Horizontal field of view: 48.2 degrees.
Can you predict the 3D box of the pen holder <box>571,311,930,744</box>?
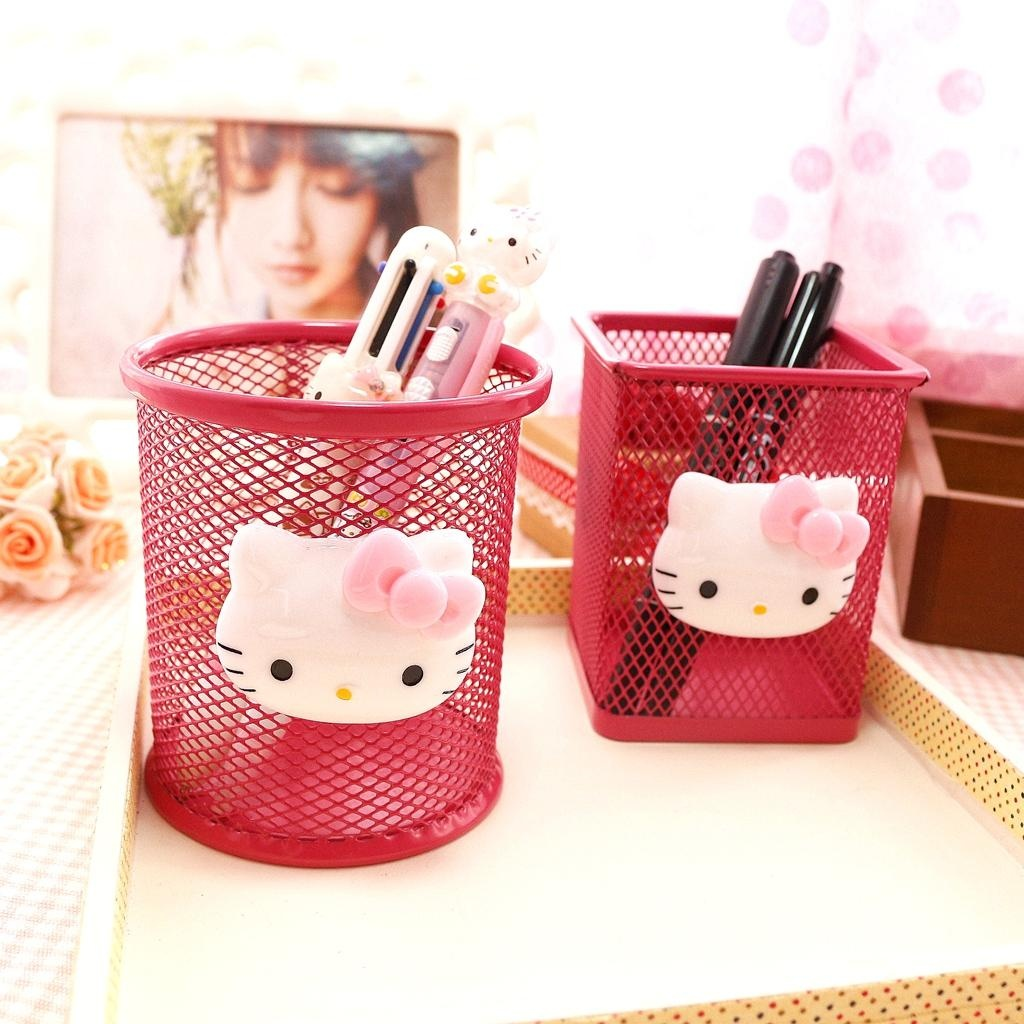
[{"bbox_3d":[0.086,0.011,0.615,0.188,0.240,0.197,1,21,-1],"label":"pen holder"}]
